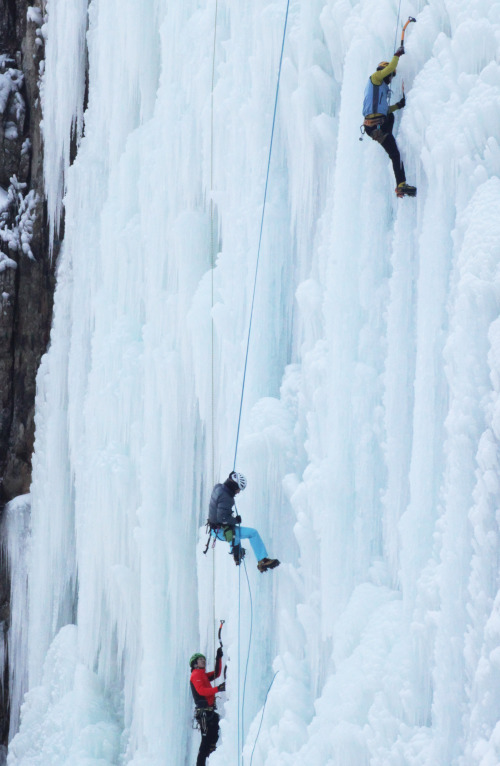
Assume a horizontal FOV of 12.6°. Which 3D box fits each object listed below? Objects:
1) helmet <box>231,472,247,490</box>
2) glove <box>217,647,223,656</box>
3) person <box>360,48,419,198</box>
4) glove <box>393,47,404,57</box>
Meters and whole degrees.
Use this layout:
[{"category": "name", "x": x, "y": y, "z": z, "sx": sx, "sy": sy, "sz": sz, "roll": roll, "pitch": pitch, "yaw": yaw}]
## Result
[{"category": "helmet", "x": -0.073, "y": 0.665, "z": 15.830, "sx": 0.091, "sy": 0.112, "sz": 0.121, "roll": -20, "pitch": -28, "yaw": 11}, {"category": "glove", "x": -0.204, "y": 1.878, "z": 16.006, "sx": 0.031, "sy": 0.096, "sz": 0.055, "roll": 2, "pitch": -6, "yaw": -10}, {"category": "person", "x": 0.931, "y": -1.756, "z": 15.251, "sx": 0.387, "sy": 1.011, "sz": 0.300, "roll": 1, "pitch": 3, "yaw": 22}, {"category": "glove", "x": 1.004, "y": -2.208, "z": 15.177, "sx": 0.063, "sy": 0.075, "sz": 0.194, "roll": 0, "pitch": 5, "yaw": 2}]
